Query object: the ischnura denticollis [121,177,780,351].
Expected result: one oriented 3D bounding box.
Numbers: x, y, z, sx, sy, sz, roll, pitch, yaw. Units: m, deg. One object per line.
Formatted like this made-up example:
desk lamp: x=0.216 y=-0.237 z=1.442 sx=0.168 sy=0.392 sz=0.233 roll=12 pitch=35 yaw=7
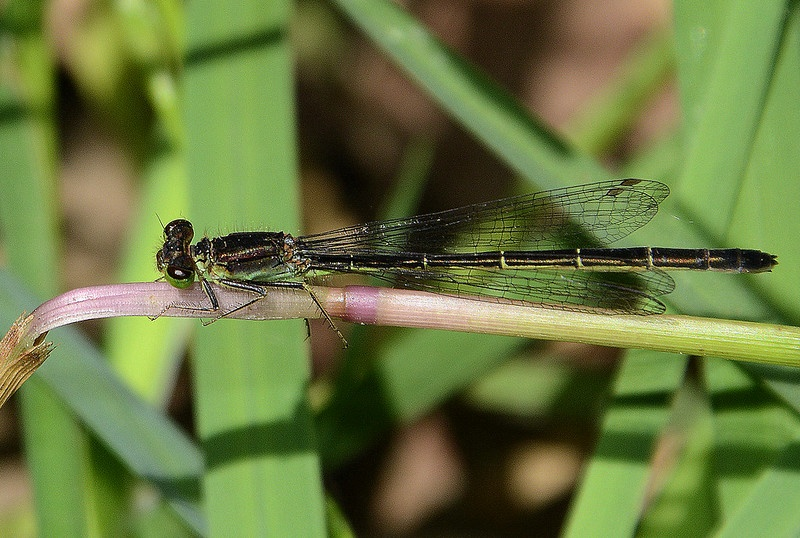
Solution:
ischnura denticollis: x=0.159 y=-0.007 z=3.261 sx=2.498 sy=0.588 sz=0.516 roll=2 pitch=-68 yaw=13
